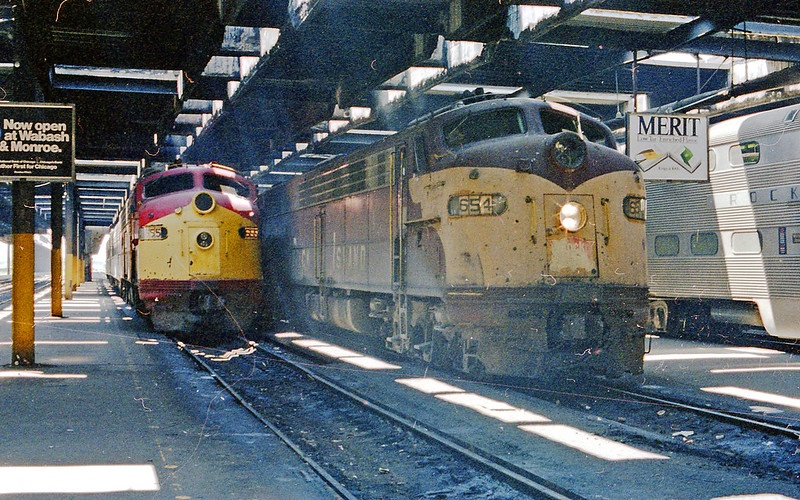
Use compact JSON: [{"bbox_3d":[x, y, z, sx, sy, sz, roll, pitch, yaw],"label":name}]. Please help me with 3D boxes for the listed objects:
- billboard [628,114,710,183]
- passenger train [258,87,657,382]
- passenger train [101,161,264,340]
[{"bbox_3d":[6.550,-2.412,17.088,2.211,1.841,0.291,0,-4,-2],"label":"billboard"},{"bbox_3d":[-0.222,-0.214,20.063,4.683,5.742,16.386,-1,-1,-23],"label":"passenger train"},{"bbox_3d":[-5.589,-0.111,19.208,3.511,4.703,1.913,-2,-4,-11],"label":"passenger train"}]
